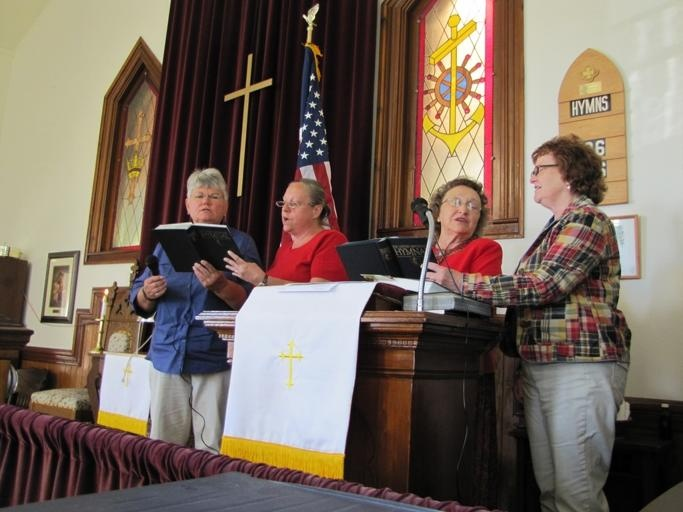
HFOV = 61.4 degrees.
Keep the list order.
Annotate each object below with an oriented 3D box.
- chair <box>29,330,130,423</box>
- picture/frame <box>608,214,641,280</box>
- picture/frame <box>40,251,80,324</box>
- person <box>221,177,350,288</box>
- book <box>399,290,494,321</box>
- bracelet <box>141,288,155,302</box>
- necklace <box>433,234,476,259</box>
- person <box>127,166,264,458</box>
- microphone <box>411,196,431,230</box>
[{"bbox_3d":[-2.303,1.179,4.997,0.461,0.793,0.438,11,-3,5],"label":"chair"},{"bbox_3d":[1.533,-0.036,3.131,0.023,0.269,0.291,5,-17,-28],"label":"picture/frame"},{"bbox_3d":[-3.000,0.359,6.219,0.051,0.801,0.659,7,-8,-39],"label":"picture/frame"},{"bbox_3d":[-0.346,-0.129,3.188,0.536,0.828,0.522,7,-14,-28],"label":"person"},{"bbox_3d":[0.485,0.208,2.460,0.455,0.087,0.191,8,-7,-35],"label":"book"},{"bbox_3d":[-0.989,0.201,2.962,0.049,0.043,0.052,9,7,34],"label":"bracelet"},{"bbox_3d":[0.566,-0.033,3.037,0.183,0.123,0.146,20,-24,-28],"label":"necklace"},{"bbox_3d":[-0.811,0.466,2.982,0.598,1.026,0.371,1,-6,24],"label":"person"},{"bbox_3d":[0.331,-0.194,2.429,0.064,0.056,0.137,-23,43,-14],"label":"microphone"}]
